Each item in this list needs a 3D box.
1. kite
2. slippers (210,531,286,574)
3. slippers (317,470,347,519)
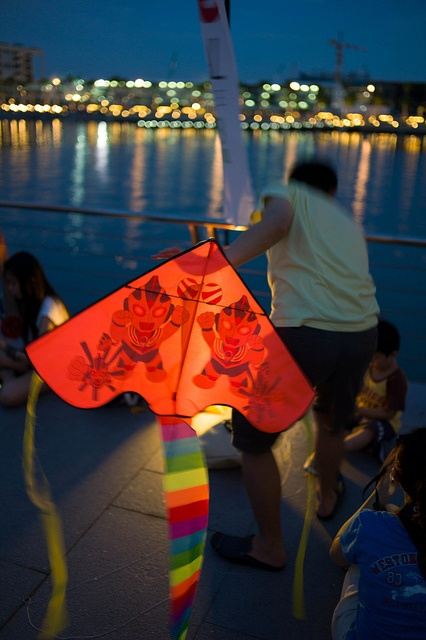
[{"bbox_3d":[-0.075,0.277,1.115,0.539,0.869,0.218,-9,19,-23],"label":"kite"},{"bbox_3d":[0.104,0.742,1.681,0.234,0.072,0.092,16,12,21],"label":"slippers"},{"bbox_3d":[0.456,0.665,1.967,0.065,0.079,0.215,1,18,25],"label":"slippers"}]
